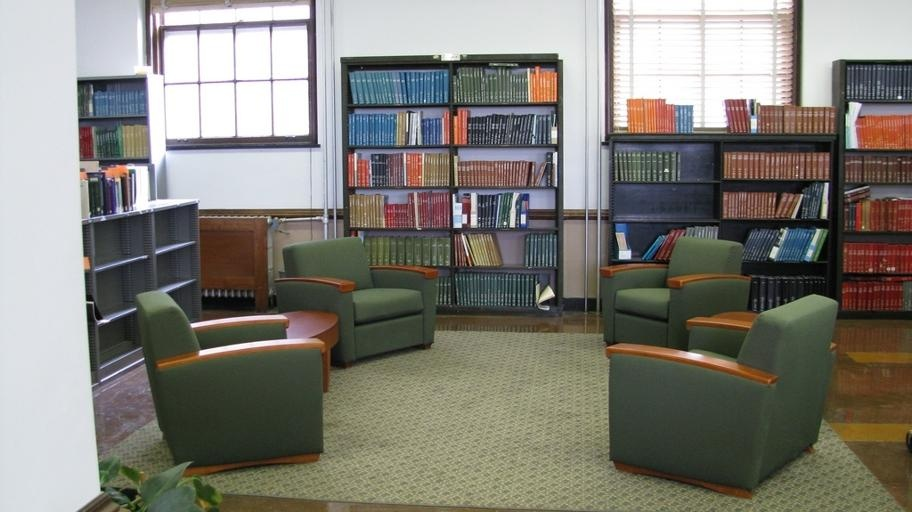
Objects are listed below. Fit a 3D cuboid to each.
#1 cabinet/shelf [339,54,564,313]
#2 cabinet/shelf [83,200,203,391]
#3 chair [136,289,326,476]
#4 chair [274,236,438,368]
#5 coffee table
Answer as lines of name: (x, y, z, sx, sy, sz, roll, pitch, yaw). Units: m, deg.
cabinet/shelf: (-0.050, -0.888, 7.862, 3.557, 3.612, 0.866, 0, 1, 3)
cabinet/shelf: (-2.813, 0.340, 5.906, 0.315, 0.987, 1.819, -1, 5, -1)
chair: (-1.575, 0.813, 5.195, 1.453, 1.109, 1.311, -2, 6, -18)
chair: (-0.957, 0.375, 6.733, 1.401, 1.090, 1.414, 3, 5, 43)
coffee table: (-1.193, 0.888, 5.942, 0.628, 0.381, 0.834, -1, 12, -3)
